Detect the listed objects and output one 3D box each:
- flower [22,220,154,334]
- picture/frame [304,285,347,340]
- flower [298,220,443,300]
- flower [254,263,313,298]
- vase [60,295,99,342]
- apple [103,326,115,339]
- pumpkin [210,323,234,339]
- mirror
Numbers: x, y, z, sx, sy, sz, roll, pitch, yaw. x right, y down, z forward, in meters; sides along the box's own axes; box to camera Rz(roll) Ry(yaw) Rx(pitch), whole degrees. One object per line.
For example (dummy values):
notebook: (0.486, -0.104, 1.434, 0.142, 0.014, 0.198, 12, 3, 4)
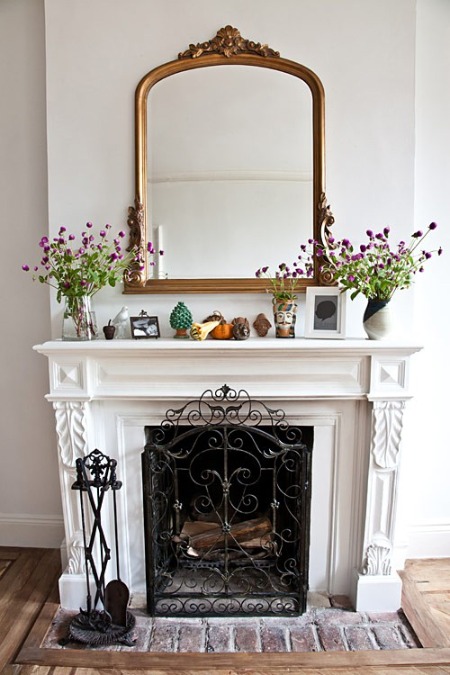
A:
flower: (-0.656, -0.257, 2.720, 0.563, 0.467, 0.412, 7, 16, 24)
picture/frame: (0.416, -0.100, 2.618, 0.238, 0.291, 0.031, 1, -5, 4)
flower: (0.604, -0.255, 2.687, 0.429, 0.260, 0.438, 0, 1, 17)
flower: (0.263, -0.247, 2.722, 0.166, 0.103, 0.193, 14, -16, -38)
vase: (-0.614, -0.090, 2.663, 0.153, 0.191, 0.146, -3, 8, -12)
apple: (-0.483, -0.023, 2.651, 0.056, 0.057, 0.054, 0, 10, -9)
pumpkin: (-0.010, -0.028, 2.670, 0.074, 0.066, 0.072, 2, 6, -2)
mirror: (0.046, -0.807, 2.713, 1.215, 1.278, 0.065, 0, 3, -2)
